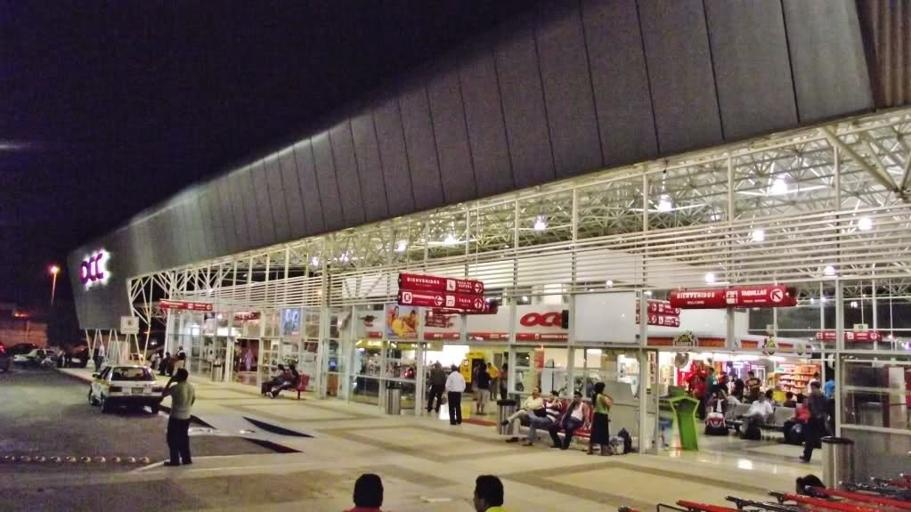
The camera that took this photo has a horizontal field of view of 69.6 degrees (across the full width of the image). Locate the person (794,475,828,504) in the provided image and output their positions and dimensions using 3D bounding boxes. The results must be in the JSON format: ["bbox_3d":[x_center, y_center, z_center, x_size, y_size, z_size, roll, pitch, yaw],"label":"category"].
[{"bbox_3d":[9.739,6.346,17.994,0.809,0.687,0.617,3,-5,-32],"label":"person"}]

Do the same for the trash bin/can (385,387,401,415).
[{"bbox_3d":[-2.808,6.470,29.228,0.675,1.163,0.390,4,-12,1],"label":"trash bin/can"}]

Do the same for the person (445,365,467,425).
[{"bbox_3d":[-0.063,6.043,27.926,0.783,2.205,1.330,4,-12,-1],"label":"person"}]

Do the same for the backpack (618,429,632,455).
[{"bbox_3d":[6.088,6.619,23.424,0.266,0.765,0.573,-3,8,-40],"label":"backpack"}]

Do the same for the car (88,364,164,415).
[{"bbox_3d":[-13.740,5.527,27.375,2.647,1.936,1.444,0,-13,18],"label":"car"}]

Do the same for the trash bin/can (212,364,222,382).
[{"bbox_3d":[-14.869,7.249,40.879,0.360,0.964,0.694,-8,-17,43],"label":"trash bin/can"}]
